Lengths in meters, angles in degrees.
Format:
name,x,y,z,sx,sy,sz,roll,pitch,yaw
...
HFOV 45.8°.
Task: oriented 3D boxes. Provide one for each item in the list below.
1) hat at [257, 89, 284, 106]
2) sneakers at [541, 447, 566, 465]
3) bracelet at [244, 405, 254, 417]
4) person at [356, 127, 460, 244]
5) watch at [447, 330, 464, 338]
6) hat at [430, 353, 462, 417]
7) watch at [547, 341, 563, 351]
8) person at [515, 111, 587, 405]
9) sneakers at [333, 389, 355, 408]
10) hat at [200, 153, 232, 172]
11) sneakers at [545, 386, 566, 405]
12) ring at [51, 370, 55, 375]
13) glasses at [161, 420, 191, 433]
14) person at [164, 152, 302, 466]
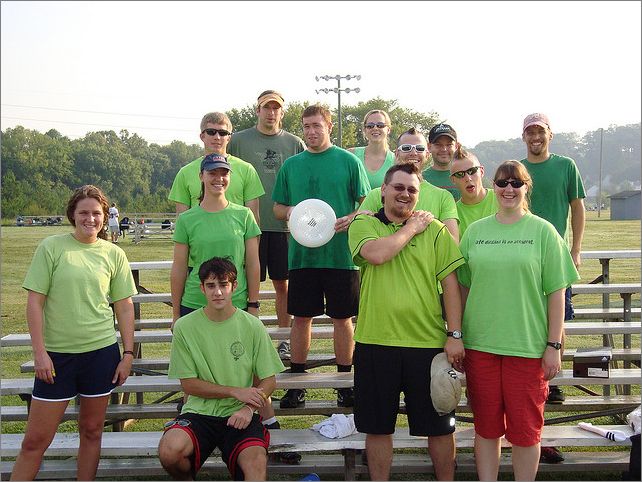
name,x,y,z,sx,sy,sz,roll,pitch,yaw
hat,-0.581,-1.640,8.705,0.301,0.172,0.373,0,3,-5
sneakers,2.282,2.102,7.476,0.300,0.128,0.114,-5,3,30
bracelet,-0.662,1.551,6.955,0.077,0.114,0.057,1,3,18
person,0.857,-0.372,7.388,1.097,0.723,1.305,3,-16,17
watch,1.224,0.830,6.809,0.100,0.068,0.093,-2,-1,-33
hat,1.086,1.252,6.726,0.288,0.470,0.182,15,-11,-20
watch,2.098,0.915,6.727,0.091,0.066,0.101,-2,-1,8
person,2.459,-0.005,8.488,0.927,2.804,0.766,-3,12,6
sneakers,0.252,1.621,7.865,0.099,0.117,0.270,3,-12,-19
hat,-1.051,-0.773,7.424,0.298,0.179,0.205,0,3,0
sneakers,2.481,1.619,7.982,0.105,0.130,0.299,-1,-8,4
ring,-2.437,1.183,6.887,0.045,0.045,0.019,-4,4,-24
glasses,-1.309,1.670,6.890,0.244,0.111,0.155,0,3,-5
person,-0.888,0.617,7.447,1.111,2.990,0.646,-3,-10,5
